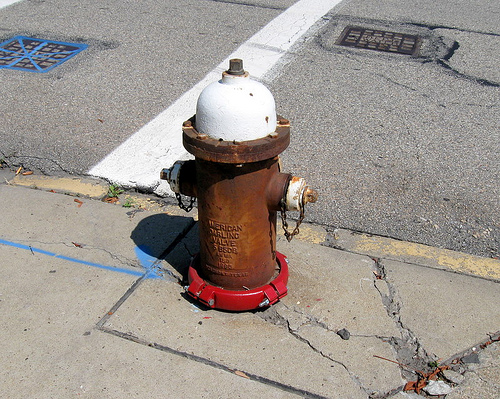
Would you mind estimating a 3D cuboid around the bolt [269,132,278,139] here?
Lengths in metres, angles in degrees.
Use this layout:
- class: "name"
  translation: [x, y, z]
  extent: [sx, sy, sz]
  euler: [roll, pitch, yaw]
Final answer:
- class: "bolt"
  translation: [0.167, -0.462, 3.346]
  extent: [0.050, 0.024, 0.060]
  euler: [-32, 57, -31]

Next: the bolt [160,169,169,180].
- class: "bolt"
  translation: [-0.695, -0.209, 3.784]
  extent: [0.056, 0.075, 0.077]
  euler: [6, 23, -1]

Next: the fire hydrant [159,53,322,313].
- class: "fire hydrant"
  translation: [-0.055, -0.017, 3.588]
  extent: [1.067, 1.757, 1.024]
  euler: [-4, 46, -10]

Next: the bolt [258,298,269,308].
- class: "bolt"
  translation: [0.113, 0.820, 3.765]
  extent: [0.063, 0.064, 0.021]
  euler: [29, 12, 3]

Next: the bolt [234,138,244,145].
- class: "bolt"
  translation: [-0.078, -0.417, 3.270]
  extent: [0.060, 0.021, 0.072]
  euler: [15, 47, 8]

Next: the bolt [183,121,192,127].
- class: "bolt"
  translation: [-0.464, -0.569, 3.478]
  extent: [0.067, 0.030, 0.088]
  euler: [-2, 47, -9]

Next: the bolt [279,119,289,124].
- class: "bolt"
  translation: [0.250, -0.592, 3.529]
  extent: [0.057, 0.016, 0.058]
  euler: [2, 29, 1]
